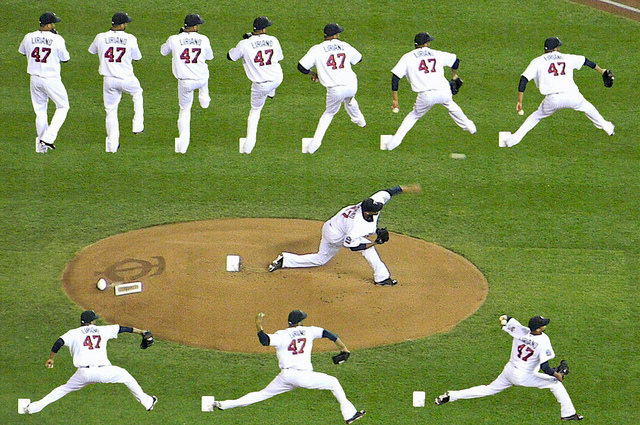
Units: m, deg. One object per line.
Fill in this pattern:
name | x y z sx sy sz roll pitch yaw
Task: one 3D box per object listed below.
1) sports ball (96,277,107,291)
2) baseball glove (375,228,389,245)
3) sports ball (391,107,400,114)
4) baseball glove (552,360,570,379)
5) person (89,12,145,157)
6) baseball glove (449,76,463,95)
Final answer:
sports ball | -5.582 1.853 23.002 0.240 0.348 0.273 1 41 -15
baseball glove | 1.586 0.589 22.752 0.327 0.356 0.175 5 -2 0
sports ball | 2.173 -2.943 25.525 0.238 0.242 0.089 -1 76 -3
baseball glove | 5.595 3.554 20.697 0.239 0.265 0.656 16 44 21
person | -5.781 -3.615 25.671 1.050 4.062 1.291 -20 52 -33
baseball glove | 3.955 -3.717 26.207 0.464 0.408 0.154 13 20 -21
